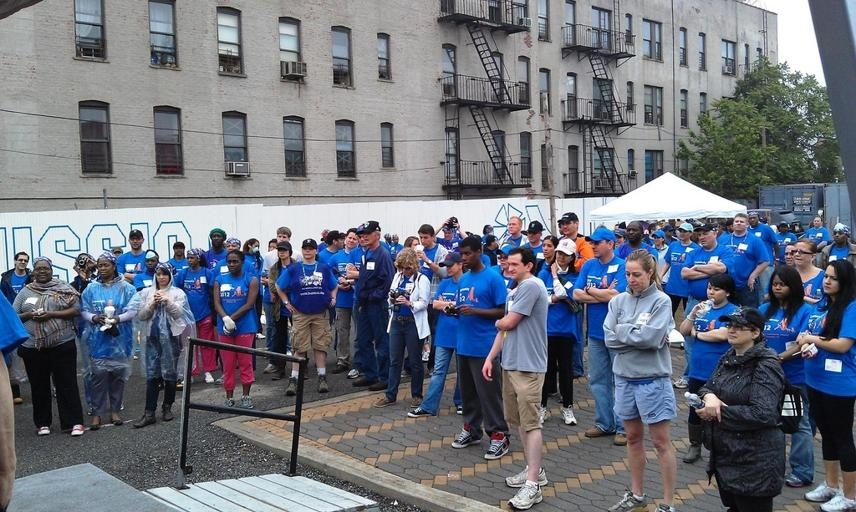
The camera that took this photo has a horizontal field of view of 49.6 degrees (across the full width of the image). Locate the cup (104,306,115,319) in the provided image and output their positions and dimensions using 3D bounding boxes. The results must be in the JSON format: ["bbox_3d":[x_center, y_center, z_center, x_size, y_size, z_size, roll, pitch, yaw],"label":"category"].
[{"bbox_3d":[-7.216,1.268,21.031,0.241,0.170,0.232,3,0,0],"label":"cup"}]

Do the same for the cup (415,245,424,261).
[{"bbox_3d":[-0.252,-0.078,22.903,0.358,0.393,0.354,1,0,0],"label":"cup"}]

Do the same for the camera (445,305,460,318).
[{"bbox_3d":[0.507,1.162,19.736,0.187,0.158,0.302,7,-6,-5],"label":"camera"}]

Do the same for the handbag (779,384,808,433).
[{"bbox_3d":[6.603,2.770,16.954,0.411,0.907,0.211,-2,3,6],"label":"handbag"}]

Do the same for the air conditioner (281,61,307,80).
[{"bbox_3d":[-5.324,-7.379,36.808,1.253,0.793,0.659,0,8,-22],"label":"air conditioner"}]

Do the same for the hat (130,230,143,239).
[{"bbox_3d":[-7.764,-0.574,24.759,0.277,0.198,0.369,-3,-29,-10],"label":"hat"}]

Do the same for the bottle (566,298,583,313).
[{"bbox_3d":[3.185,1.090,20.527,0.238,0.330,0.343,-1,-10,41],"label":"bottle"}]

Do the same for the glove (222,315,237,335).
[{"bbox_3d":[-4.567,1.575,21.324,0.288,0.372,0.135,-7,11,-10],"label":"glove"}]

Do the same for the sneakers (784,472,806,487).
[{"bbox_3d":[7.376,4.478,18.603,0.449,0.199,0.191,12,8,20],"label":"sneakers"}]

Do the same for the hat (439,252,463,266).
[{"bbox_3d":[0.519,0.054,20.501,0.376,0.196,0.250,1,-2,-21],"label":"hat"}]

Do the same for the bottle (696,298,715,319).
[{"bbox_3d":[5.658,1.078,18.963,0.338,0.357,0.258,-2,3,9],"label":"bottle"}]
